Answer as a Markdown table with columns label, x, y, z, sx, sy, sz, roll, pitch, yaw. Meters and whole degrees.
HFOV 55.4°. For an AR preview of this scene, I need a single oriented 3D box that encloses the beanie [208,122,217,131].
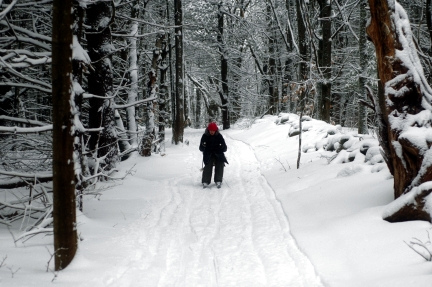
| label | x | y | z | sx | sy | sz | roll | pitch | yaw |
| --- | --- | --- | --- | --- | --- | --- | --- | --- | --- |
| beanie | -0.109 | -0.480 | 11.867 | 0.233 | 0.265 | 0.370 | -3 | 5 | 5 |

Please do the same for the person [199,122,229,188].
| label | x | y | z | sx | sy | sz | roll | pitch | yaw |
| --- | --- | --- | --- | --- | --- | --- | --- | --- | --- |
| person | -0.069 | 0.289 | 11.702 | 0.762 | 1.765 | 1.067 | -3 | 5 | -1 |
